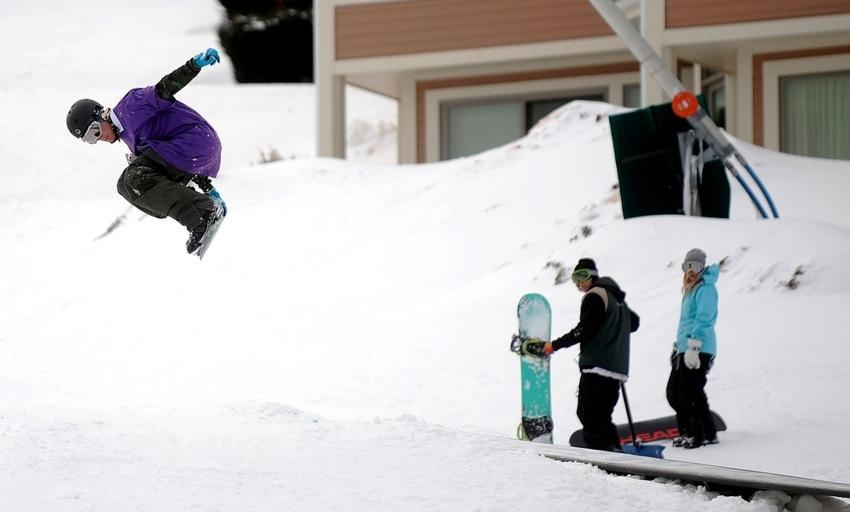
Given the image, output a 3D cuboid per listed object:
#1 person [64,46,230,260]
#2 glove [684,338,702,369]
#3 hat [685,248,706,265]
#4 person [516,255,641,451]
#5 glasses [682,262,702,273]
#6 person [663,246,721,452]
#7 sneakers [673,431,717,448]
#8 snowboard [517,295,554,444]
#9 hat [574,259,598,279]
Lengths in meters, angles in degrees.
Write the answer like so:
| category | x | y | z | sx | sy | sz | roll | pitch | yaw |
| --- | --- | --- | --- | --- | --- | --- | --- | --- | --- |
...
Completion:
| category | x | y | z | sx | sy | sz | roll | pitch | yaw |
| --- | --- | --- | --- | --- | --- | --- | --- | --- | --- |
| person | -3.164 | -1.186 | 10.912 | 1.568 | 2.439 | 0.838 | 1 | 7 | -12 |
| glove | 3.098 | 1.136 | 10.741 | 0.104 | 0.301 | 0.220 | -1 | -4 | 6 |
| hat | 3.182 | 0.000 | 10.945 | 0.177 | 0.210 | 0.250 | 14 | 9 | -2 |
| person | 1.791 | 1.086 | 10.545 | 1.008 | 2.081 | 0.635 | 4 | 7 | 13 |
| glasses | 3.177 | 0.139 | 10.892 | 0.128 | 0.072 | 0.157 | -9 | -15 | 42 |
| person | 3.187 | 1.095 | 10.883 | 0.626 | 2.329 | 0.359 | 4 | 7 | 17 |
| sneakers | 3.194 | 2.180 | 11.031 | 0.507 | 0.218 | 0.191 | 0 | -3 | 4 |
| snowboard | 1.327 | 1.336 | 11.136 | 0.400 | 1.739 | 0.246 | 1 | -3 | 1 |
| hat | 1.851 | 0.127 | 10.614 | 0.238 | 0.207 | 0.229 | 13 | -19 | -37 |
